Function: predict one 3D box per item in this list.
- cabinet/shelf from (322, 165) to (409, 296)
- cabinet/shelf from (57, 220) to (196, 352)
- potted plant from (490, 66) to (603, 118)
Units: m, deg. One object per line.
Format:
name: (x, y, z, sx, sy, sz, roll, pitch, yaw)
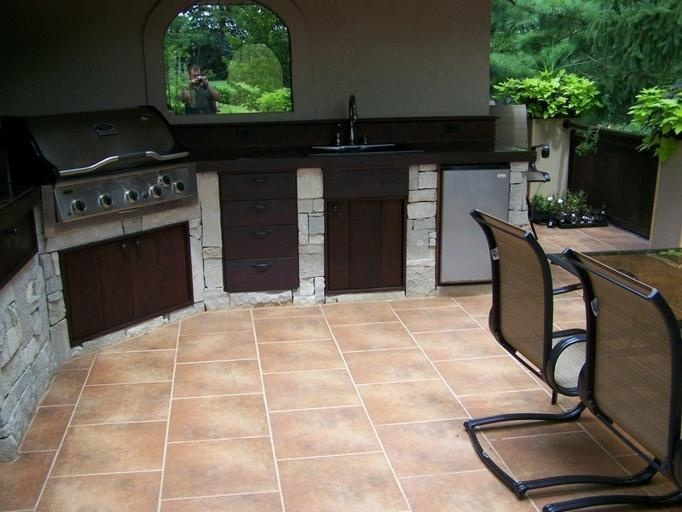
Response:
cabinet/shelf: (0.170, -0.259, 4.488, 0.841, 0.988, 0.755, -10, 20, -25)
cabinet/shelf: (-1.674, 0.106, 3.816, 0.520, 0.680, 0.988, 17, 23, 32)
potted plant: (2.797, -2.140, 6.978, 1.219, 0.607, 0.678, 5, 23, 21)
